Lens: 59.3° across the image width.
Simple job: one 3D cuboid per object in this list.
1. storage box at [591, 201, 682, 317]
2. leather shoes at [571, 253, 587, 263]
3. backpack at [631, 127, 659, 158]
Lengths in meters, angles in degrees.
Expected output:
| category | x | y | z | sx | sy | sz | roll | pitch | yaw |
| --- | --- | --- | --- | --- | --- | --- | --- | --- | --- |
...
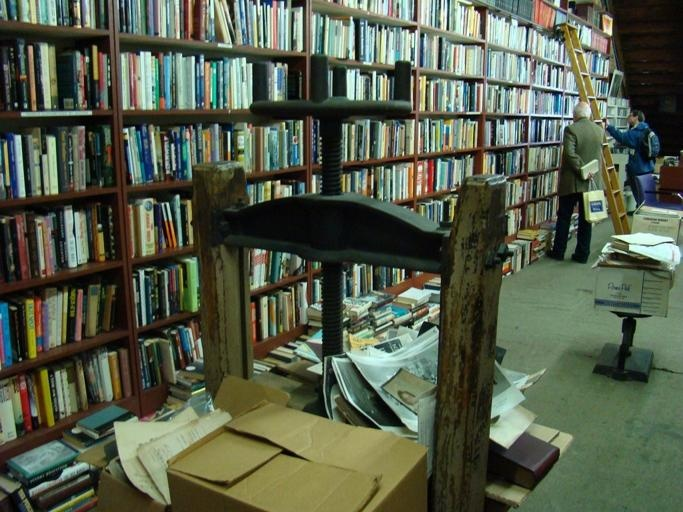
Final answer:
| category | x | y | z | sx | sy | sz | roll | pitch | yaw |
| --- | --- | --- | --- | --- | --- | --- | --- | --- | --- |
| storage box | 2.387 | 0.016 | 4.802 | 0.401 | 0.361 | 1.054 | 8 | 17 | 30 |
| leather shoes | 2.733 | 0.026 | 6.912 | 0.066 | 0.090 | 0.203 | -6 | 19 | -14 |
| backpack | 4.430 | -1.576 | 8.771 | 0.350 | 0.688 | 0.483 | 1 | 17 | 32 |
